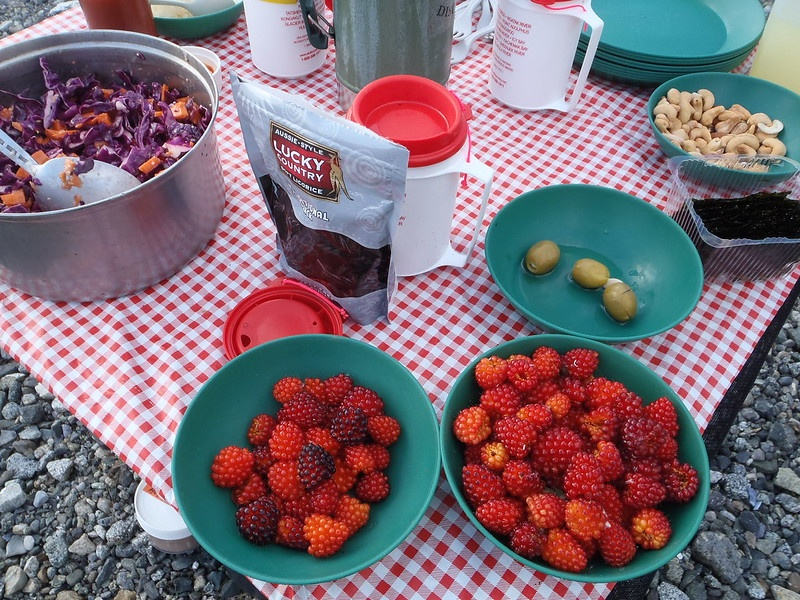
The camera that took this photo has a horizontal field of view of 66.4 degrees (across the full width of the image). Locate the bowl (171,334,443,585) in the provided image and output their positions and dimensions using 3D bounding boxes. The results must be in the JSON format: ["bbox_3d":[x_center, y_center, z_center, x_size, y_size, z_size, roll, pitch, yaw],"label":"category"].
[{"bbox_3d":[-0.222,0.320,1.213,0.424,0.152,0.487,14,62,6],"label":"bowl"}]

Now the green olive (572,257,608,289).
[{"bbox_3d":[0.434,-0.059,1.390,0.069,0.041,0.064,34,82,12],"label":"green olive"}]

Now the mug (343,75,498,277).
[{"bbox_3d":[0.037,-0.249,1.298,0.319,0.342,0.221,37,63,11],"label":"mug"}]

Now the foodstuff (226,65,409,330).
[{"bbox_3d":[-0.182,-0.195,1.280,0.416,0.431,0.157,31,62,14],"label":"foodstuff"}]
